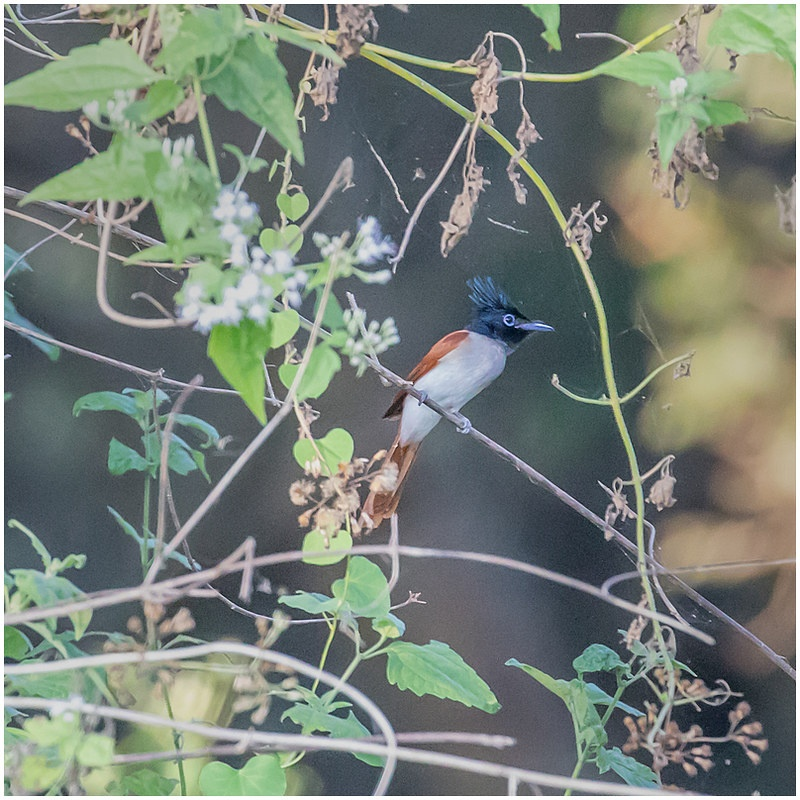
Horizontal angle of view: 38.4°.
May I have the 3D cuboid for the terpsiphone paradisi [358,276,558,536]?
[{"bbox_3d":[0.093,-0.003,2.235,0.379,0.461,0.333,0,1,-13],"label":"terpsiphone paradisi"}]
